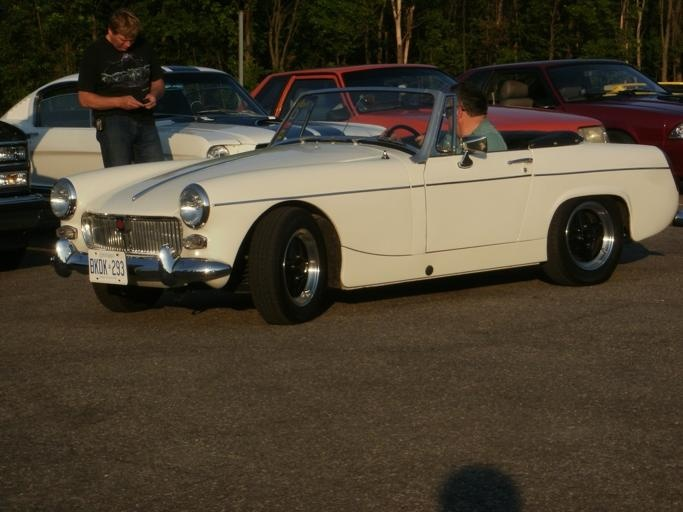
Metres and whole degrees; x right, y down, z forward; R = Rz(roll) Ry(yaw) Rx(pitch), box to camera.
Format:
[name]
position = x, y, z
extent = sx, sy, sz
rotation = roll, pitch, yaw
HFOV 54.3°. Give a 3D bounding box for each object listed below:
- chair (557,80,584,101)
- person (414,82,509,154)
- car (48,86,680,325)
[chair]
position = 3.864, -2.777, 11.278
extent = 0.563, 0.278, 0.361
rotation = -3, 0, -17
[person]
position = 1.188, -1.303, 6.262
extent = 0.350, 0.772, 0.645
rotation = 1, 1, 40
[car]
position = 0.267, -0.561, 5.974
extent = 5.228, 1.885, 1.457
rotation = -6, 11, -25
